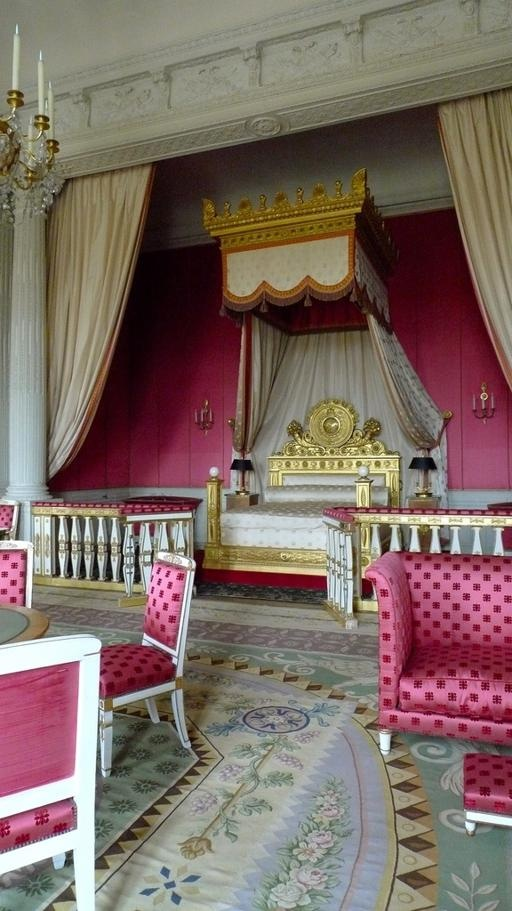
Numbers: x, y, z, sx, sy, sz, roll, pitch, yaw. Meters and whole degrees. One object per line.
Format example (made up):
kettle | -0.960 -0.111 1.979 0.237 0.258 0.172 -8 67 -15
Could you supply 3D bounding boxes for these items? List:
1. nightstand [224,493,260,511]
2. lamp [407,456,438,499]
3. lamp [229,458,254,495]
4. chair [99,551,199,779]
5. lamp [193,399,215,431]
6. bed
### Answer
nightstand | -0.182 0.517 7.392 0.211 0.249 0.232 0 1 22
lamp | 1.755 0.226 6.650 0.343 0.566 0.380 0 -3 8
lamp | -0.162 0.269 7.555 0.384 0.587 0.338 0 -2 -1
chair | -0.435 0.765 2.522 0.355 0.738 0.528 0 -4 -14
lamp | -0.689 -0.528 8.445 0.302 0.618 0.334 2 -1 2
bed | 0.363 0.189 6.914 1.935 2.463 1.690 -1 -5 27
